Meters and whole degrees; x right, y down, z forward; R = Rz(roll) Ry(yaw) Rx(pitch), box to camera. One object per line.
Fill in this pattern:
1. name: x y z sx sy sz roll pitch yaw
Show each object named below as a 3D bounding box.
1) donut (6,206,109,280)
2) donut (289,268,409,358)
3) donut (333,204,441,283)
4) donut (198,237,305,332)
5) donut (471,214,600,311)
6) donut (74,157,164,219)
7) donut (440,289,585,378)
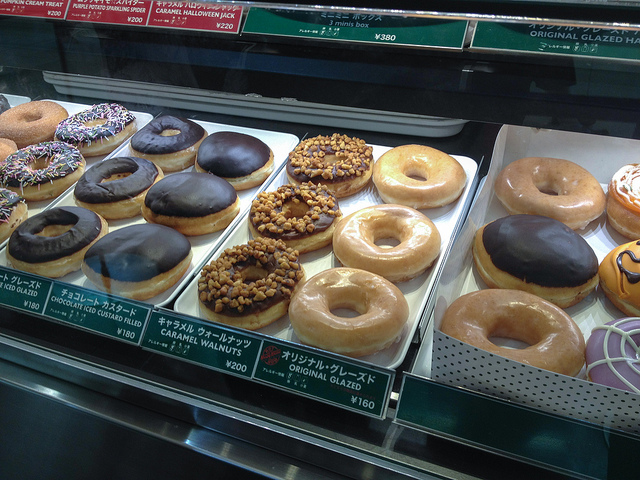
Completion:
1. donut: -1.040 -0.003 1.795 0.332 0.099 0.342 9 45 7
2. donut: 0.094 0.240 1.548 0.387 0.112 0.337 10 45 9
3. donut: 0.256 0.007 1.805 0.394 0.107 0.341 18 47 16
4. donut: -0.246 0.151 1.640 0.370 0.134 0.355 4 45 3
5. donut: 0.820 0.043 1.758 0.449 0.212 0.446 0 38 1
6. donut: -0.895 -0.210 2.102 0.342 0.111 0.308 -10 24 -9
7. donut: 0.615 0.316 1.471 0.424 0.128 0.390 -3 30 3
